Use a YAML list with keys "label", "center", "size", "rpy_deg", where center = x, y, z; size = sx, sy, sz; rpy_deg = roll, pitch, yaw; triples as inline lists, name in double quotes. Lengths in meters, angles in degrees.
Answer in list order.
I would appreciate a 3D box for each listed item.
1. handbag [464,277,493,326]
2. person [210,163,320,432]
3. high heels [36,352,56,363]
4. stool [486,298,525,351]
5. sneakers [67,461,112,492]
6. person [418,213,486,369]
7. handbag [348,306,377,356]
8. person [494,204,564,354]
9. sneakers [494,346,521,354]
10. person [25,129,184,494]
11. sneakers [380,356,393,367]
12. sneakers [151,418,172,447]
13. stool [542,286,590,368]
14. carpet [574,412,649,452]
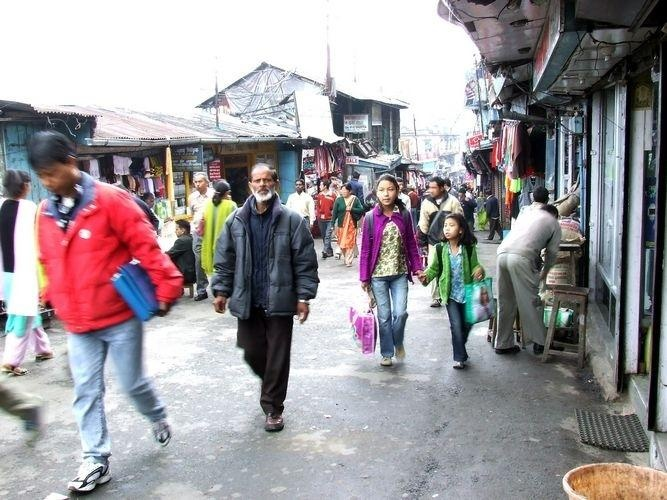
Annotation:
- label: "handbag"
  center: [1.684, 0.581, 5.465]
  size: [0.388, 0.533, 0.209]
  rpy_deg: [-6, 9, -41]
- label: "person"
  center: [-0.594, 0.374, 4.126]
  size: [0.926, 2.223, 0.550]
  rpy_deg: [-1, 7, -3]
- label: "high heels"
  center: [-3.462, 1.291, 5.755]
  size: [0.176, 0.077, 0.075]
  rpy_deg: [-6, 5, -13]
- label: "stool"
  center: [2.260, 1.031, 6.408]
  size: [0.541, 0.643, 0.603]
  rpy_deg: [0, -4, -2]
- label: "sneakers"
  center: [-1.589, 1.508, 3.212]
  size: [0.120, 0.154, 0.320]
  rpy_deg: [-2, -7, 18]
- label: "person"
  center: [1.382, 0.455, 5.575]
  size: [0.694, 1.729, 0.505]
  rpy_deg: [2, 7, 19]
- label: "handbag"
  center: [0.343, 0.936, 5.532]
  size: [0.240, 0.411, 0.614]
  rpy_deg: [-4, 9, -6]
- label: "person"
  center: [2.386, 0.395, 5.925]
  size: [0.697, 1.765, 0.446]
  rpy_deg: [2, 7, 20]
- label: "sneakers"
  center: [2.178, 1.233, 6.014]
  size: [0.313, 0.133, 0.116]
  rpy_deg: [-5, 6, -8]
- label: "person"
  center: [-1.566, 0.391, 3.327]
  size: [0.804, 2.367, 0.581]
  rpy_deg: [-4, 8, -32]
- label: "sneakers"
  center: [0.610, 1.300, 5.561]
  size: [0.075, 0.086, 0.216]
  rpy_deg: [0, -8, 2]
- label: "sneakers"
  center: [-1.328, 1.405, 3.678]
  size: [0.129, 0.238, 0.106]
  rpy_deg: [-6, 21, -16]
- label: "stool"
  center: [2.814, 0.860, 5.789]
  size: [0.451, 0.835, 0.834]
  rpy_deg: [3, 8, 28]
- label: "carpet"
  center: [2.284, 1.477, 3.955]
  size: [0.491, 0.046, 0.717]
  rpy_deg: [3, 8, 23]
